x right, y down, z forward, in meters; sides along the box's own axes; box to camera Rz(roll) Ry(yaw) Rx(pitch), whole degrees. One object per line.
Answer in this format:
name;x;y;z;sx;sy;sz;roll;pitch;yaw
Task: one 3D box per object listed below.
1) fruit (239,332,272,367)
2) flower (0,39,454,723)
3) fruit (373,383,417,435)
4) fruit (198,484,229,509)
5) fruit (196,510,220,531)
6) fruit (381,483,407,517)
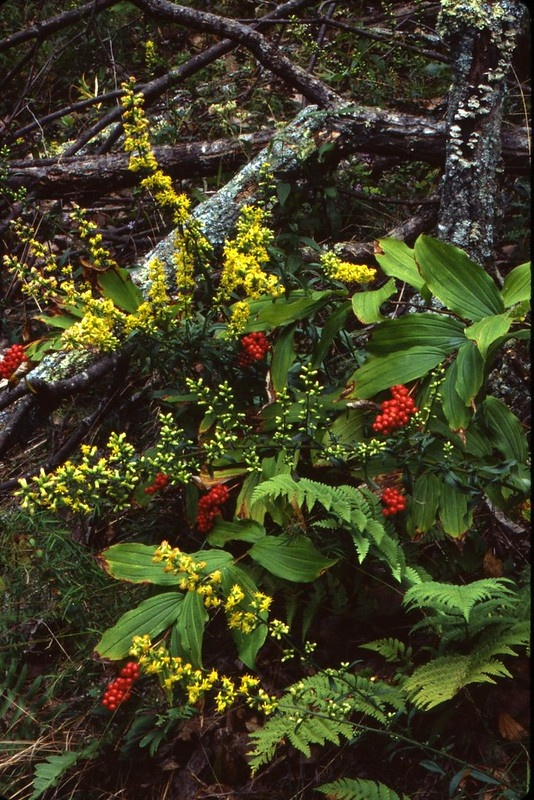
fruit;-0.049;-0.200;2.647;0.093;0.127;0.107;39;63;1
flower;-0.431;-0.104;2.963;1.752;2.304;0.946;0;-12;-12
fruit;0.425;0.034;2.310;0.142;0.149;0.201;-1;23;2
fruit;-0.188;0.351;2.488;0.059;0.059;0.125;-27;-3;-30
fruit;-0.223;0.447;2.520;0.040;0.080;0.082;16;10;-27
fruit;0.417;0.339;2.311;0.059;0.095;0.097;7;20;-9
